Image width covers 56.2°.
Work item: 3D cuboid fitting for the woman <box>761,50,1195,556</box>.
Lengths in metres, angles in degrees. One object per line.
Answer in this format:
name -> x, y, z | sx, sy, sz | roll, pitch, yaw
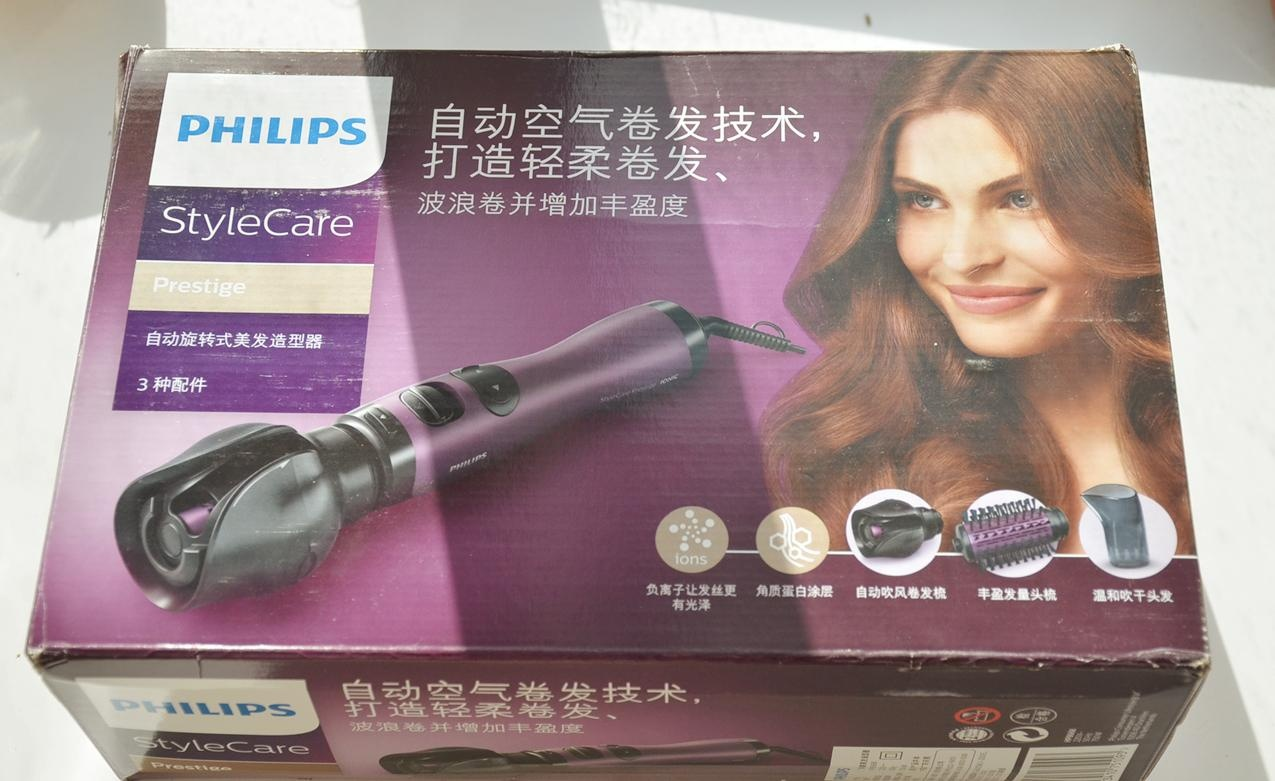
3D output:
woman -> 0.583, -0.184, 1.904 | 0.759, 0.170, 0.669 | 0, 74, 5
